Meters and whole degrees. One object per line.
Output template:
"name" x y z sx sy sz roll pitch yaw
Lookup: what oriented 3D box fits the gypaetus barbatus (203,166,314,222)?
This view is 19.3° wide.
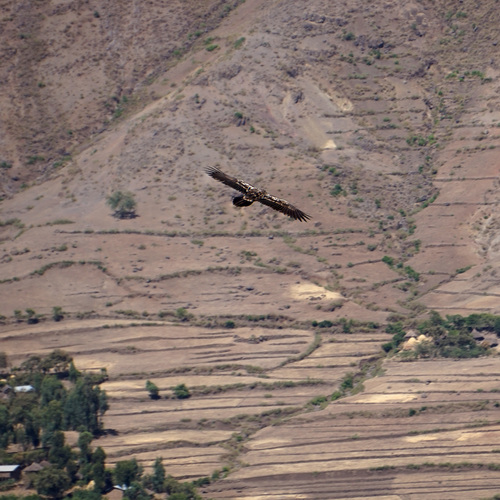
"gypaetus barbatus" 0.403 -5.642 147.330 9.274 4.542 2.731 3 13 19
